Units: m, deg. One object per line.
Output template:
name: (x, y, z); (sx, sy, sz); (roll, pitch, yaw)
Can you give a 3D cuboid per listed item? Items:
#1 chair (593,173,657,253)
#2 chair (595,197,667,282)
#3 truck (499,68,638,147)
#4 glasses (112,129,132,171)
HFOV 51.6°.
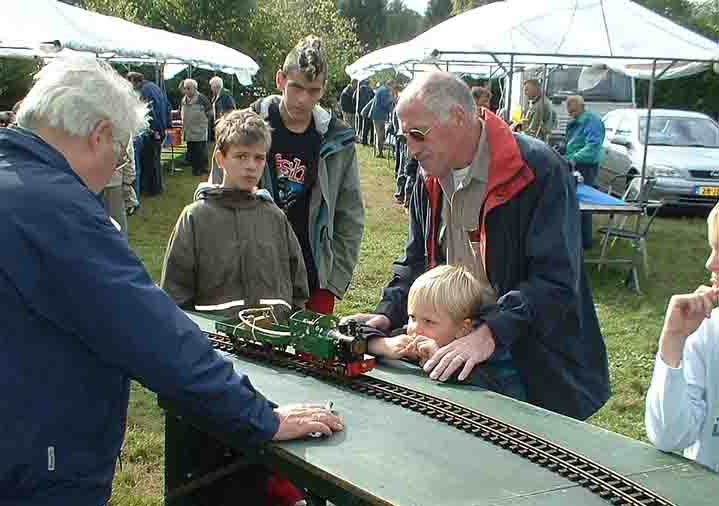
chair: (3.859, -0.756, 10.470); (0.601, 0.749, 0.595); (5, 10, -29)
chair: (3.459, -0.213, 9.529); (0.638, 0.980, 0.636); (9, 20, 22)
truck: (5.012, -3.715, 18.421); (1.905, 2.454, 4.982); (-1, 11, -4)
glasses: (-1.040, -0.427, 3.159); (0.039, 0.136, 0.132); (-4, 1, 26)
